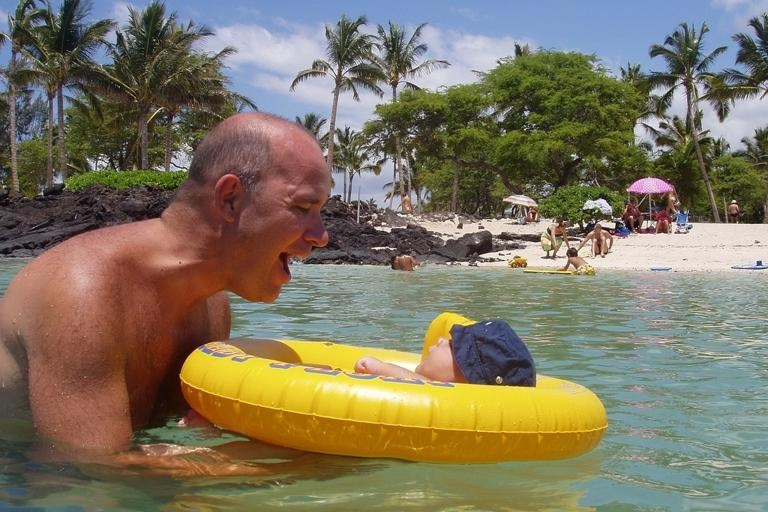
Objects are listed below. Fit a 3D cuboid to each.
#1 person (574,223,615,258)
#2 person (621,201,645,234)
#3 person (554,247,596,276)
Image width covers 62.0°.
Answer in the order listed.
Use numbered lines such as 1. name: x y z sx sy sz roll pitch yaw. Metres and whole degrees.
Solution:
1. person: 7.292 -0.508 21.913 1.525 0.990 0.902 -3 5 15
2. person: 10.827 -1.700 27.814 0.928 1.319 0.871 -7 -3 29
3. person: 5.291 0.229 17.268 0.823 0.606 1.055 -4 15 -16
